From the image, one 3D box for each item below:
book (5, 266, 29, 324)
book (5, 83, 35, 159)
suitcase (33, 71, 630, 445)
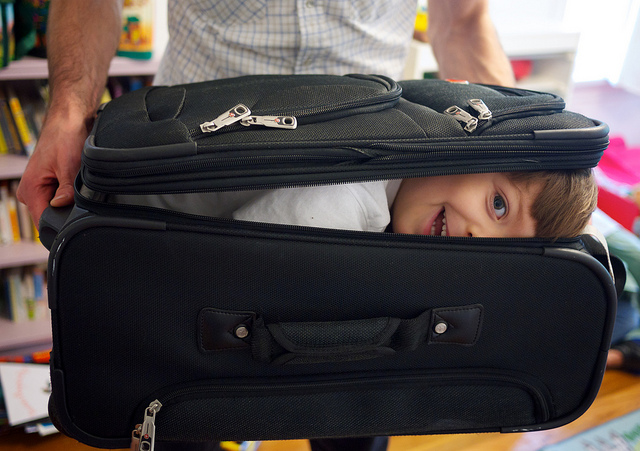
[{"bbox_3d":[-1.074,0.247,2.051,0.068,0.156,0.176,-7,27,-16],"label":"book"},{"bbox_3d":[-0.972,-0.344,1.882,0.036,0.224,0.140,-16,35,-24],"label":"book"},{"bbox_3d":[0.011,0.084,1.113,1.077,0.504,0.652,-1,22,-6],"label":"suitcase"}]
